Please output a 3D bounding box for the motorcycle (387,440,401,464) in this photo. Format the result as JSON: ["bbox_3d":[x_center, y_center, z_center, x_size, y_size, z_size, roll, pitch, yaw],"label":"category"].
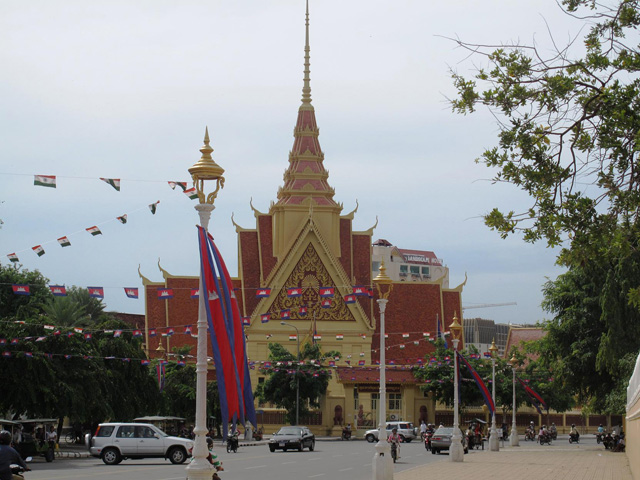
[{"bbox_3d":[3.930,11.048,77.094,1.018,1.223,1.939,-1,-18,3],"label":"motorcycle"}]

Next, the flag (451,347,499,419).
[{"bbox_3d":[10.447,9.540,98.651,3.840,1.080,9.594,4,-40,13],"label":"flag"}]

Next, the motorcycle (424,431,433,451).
[{"bbox_3d":[6.522,12.025,87.582,0.572,0.709,1.213,0,-15,1],"label":"motorcycle"}]

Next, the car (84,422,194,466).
[{"bbox_3d":[-9.632,10.813,77.559,5.643,2.376,2.918,-2,-8,3],"label":"car"}]
